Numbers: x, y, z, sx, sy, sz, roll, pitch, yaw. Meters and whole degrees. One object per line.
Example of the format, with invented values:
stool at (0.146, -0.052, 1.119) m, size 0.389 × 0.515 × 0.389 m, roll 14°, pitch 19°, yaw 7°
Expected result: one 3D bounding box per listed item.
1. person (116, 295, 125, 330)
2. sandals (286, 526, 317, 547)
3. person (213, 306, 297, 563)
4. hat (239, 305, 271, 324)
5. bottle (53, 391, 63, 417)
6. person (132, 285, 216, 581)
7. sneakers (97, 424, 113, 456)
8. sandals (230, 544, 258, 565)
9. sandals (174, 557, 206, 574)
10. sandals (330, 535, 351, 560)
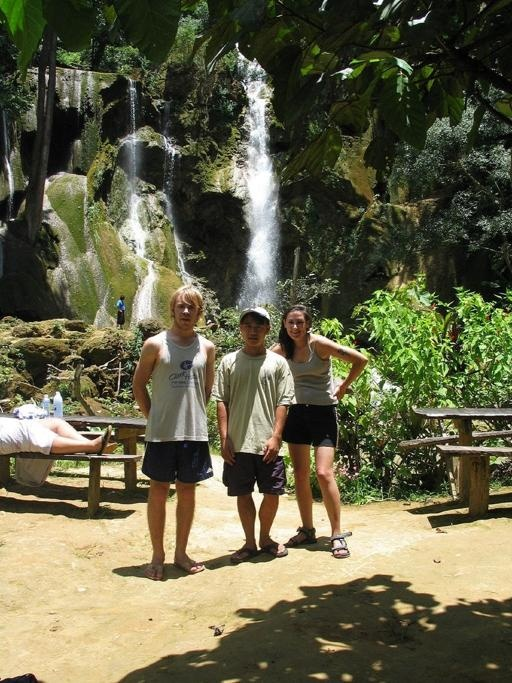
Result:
person at (-5.068, -1.148, 21.999) m, size 0.352 × 1.389 × 1.215 m, roll -4°, pitch -7°, yaw -12°
sandals at (0.333, 1.446, 4.335) m, size 0.255 × 0.117 × 0.097 m, roll 4°, pitch -6°, yaw -27°
person at (0.002, 0.637, 4.038) m, size 0.561 × 1.722 × 0.399 m, roll -7°, pitch -7°, yaw 10°
hat at (-0.011, -0.176, 4.011) m, size 0.150 × 0.120 × 0.219 m, roll 2°, pitch -7°, yaw -4°
bottle at (-2.073, 0.664, 6.143) m, size 0.073 × 0.263 × 0.229 m, roll -2°, pitch -8°, yaw -24°
person at (-0.501, 0.586, 3.853) m, size 0.537 × 1.879 × 0.342 m, roll -5°, pitch -7°, yaw -4°
sneakers at (-1.325, 0.860, 5.112) m, size 0.080 × 0.270 × 0.100 m, roll 17°, pitch 5°, yaw 15°
sandals at (-0.084, 1.473, 4.038) m, size 0.081 × 0.073 × 0.216 m, roll -4°, pitch -6°, yaw 35°
sandals at (-0.455, 1.492, 3.911) m, size 0.164 × 0.055 × 0.090 m, roll -3°, pitch -3°, yaw 41°
sandals at (0.562, 1.390, 3.981) m, size 0.132 × 0.132 × 0.216 m, roll -6°, pitch -7°, yaw 6°
